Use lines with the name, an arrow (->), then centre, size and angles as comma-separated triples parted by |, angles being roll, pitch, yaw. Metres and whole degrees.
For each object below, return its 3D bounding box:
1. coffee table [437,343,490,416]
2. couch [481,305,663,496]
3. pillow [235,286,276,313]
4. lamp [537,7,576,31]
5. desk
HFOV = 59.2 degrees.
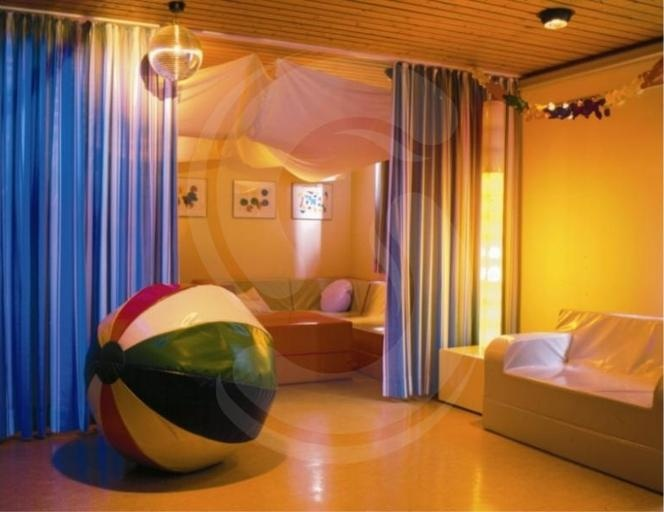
coffee table -> 0.979, 0.952, 4.465 | 0.357, 0.417, 0.409 | 1, 2, 3
couch -> 1.717, 0.824, 3.845 | 0.835, 0.797, 1.213 | -5, 10, -39
pillow -> -0.836, 0.486, 6.330 | 0.207, 0.115, 0.332 | -9, 40, -40
lamp -> 1.506, -1.589, 3.918 | 0.250, 0.100, 0.205 | 1, 7, 4
desk -> -0.173, 0.828, 5.126 | 0.792, 0.489, 0.242 | -2, 8, -21
